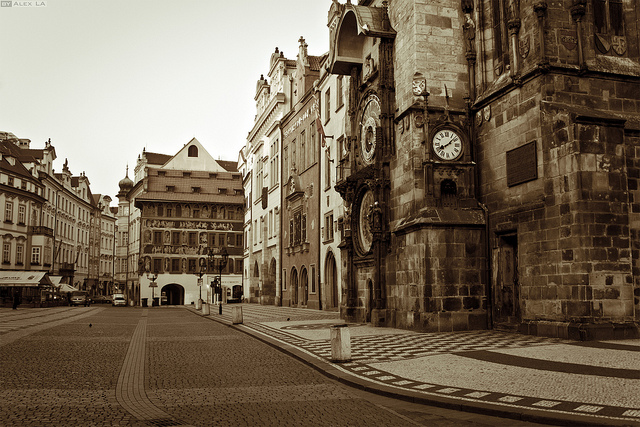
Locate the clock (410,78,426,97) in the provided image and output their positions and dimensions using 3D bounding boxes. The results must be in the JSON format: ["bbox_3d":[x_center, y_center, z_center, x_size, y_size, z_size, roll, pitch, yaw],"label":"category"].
[{"bbox_3d":[4.058,-5.236,27.319,0.769,1.139,0.102,-1,-5,11],"label":"clock"}]

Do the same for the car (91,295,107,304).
[{"bbox_3d":[-31.185,12.264,93.180,1.746,0.946,1.078,-14,-14,35],"label":"car"}]

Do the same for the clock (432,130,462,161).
[{"bbox_3d":[5.138,-2.755,27.070,0.931,1.027,0.074,20,-8,-12],"label":"clock"}]
